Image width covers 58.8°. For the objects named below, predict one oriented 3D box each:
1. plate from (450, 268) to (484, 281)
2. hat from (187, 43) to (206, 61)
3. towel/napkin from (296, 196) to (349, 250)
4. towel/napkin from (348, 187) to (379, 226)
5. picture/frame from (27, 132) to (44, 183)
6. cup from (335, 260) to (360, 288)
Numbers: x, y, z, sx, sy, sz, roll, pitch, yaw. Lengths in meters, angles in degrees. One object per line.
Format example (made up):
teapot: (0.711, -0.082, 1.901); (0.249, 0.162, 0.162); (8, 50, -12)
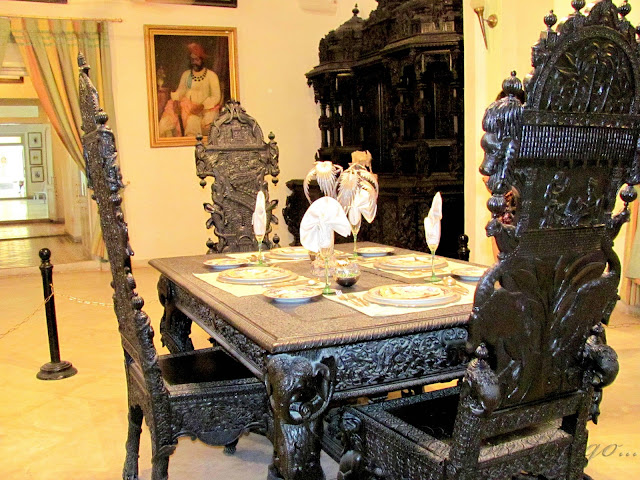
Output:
plate: (0.729, 0.171, 2.848); (0.133, 0.028, 0.135); (-6, 8, -19)
hat: (-1.861, -2.883, 8.667); (0.180, 0.255, 0.188); (-44, 26, -26)
towel/napkin: (0.030, -0.077, 2.661); (0.209, 0.246, 0.071); (-1, 3, 9)
towel/napkin: (0.237, -0.186, 3.233); (0.151, 0.209, 0.102); (0, 0, -16)
picture/frame: (-9.187, -2.670, 18.474); (0.465, 1.625, 0.617); (-7, 12, -27)
cup: (0.150, 0.164, 2.740); (0.121, 0.099, 0.117); (-1, 9, 0)
